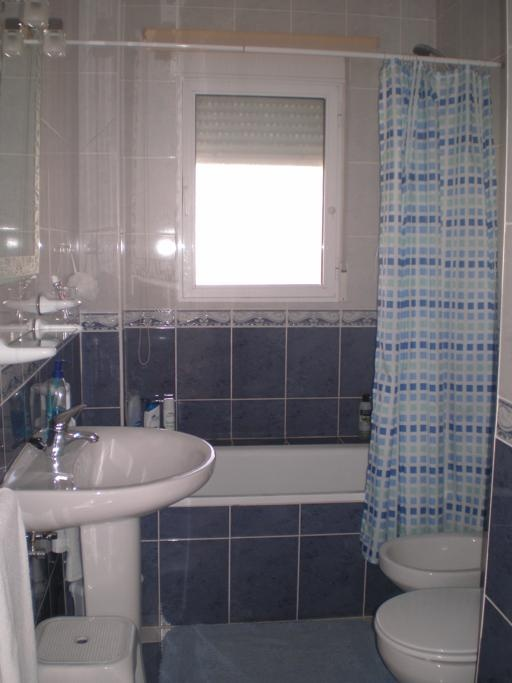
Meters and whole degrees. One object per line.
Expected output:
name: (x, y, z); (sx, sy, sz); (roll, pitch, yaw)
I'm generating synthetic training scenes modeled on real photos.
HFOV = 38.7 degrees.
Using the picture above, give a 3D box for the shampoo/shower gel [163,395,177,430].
shampoo/shower gel: (-0.382, 0.313, 3.205); (0.055, 0.162, 0.121); (-1, 5, -5)

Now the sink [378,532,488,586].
sink: (0.581, 0.755, 2.463); (0.328, 0.141, 0.310); (1, 5, 17)

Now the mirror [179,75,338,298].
mirror: (0.015, -0.633, 3.253); (0.679, 1.043, 0.039); (0, -6, 2)

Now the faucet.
faucet: (-0.453, 0.242, 1.825); (0.109, 0.197, 0.057); (6, 20, 5)

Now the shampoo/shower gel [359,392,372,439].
shampoo/shower gel: (0.498, 0.342, 3.360); (0.051, 0.192, 0.103); (0, 5, 9)
